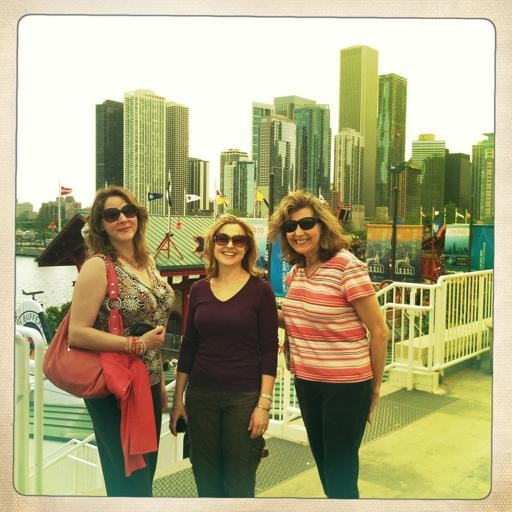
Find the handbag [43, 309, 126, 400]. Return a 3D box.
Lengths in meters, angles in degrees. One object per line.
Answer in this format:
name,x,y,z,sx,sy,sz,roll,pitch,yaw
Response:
handbag,-0.954,0.485,3.175,0.411,0.487,0.229,7,20,-8

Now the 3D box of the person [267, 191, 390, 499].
person,0.402,0.501,3.276,0.647,1.714,0.268,2,5,35

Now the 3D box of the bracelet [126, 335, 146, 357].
bracelet,-0.652,0.482,3.194,0.084,0.101,0.038,2,25,43

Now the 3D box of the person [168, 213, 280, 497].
person,-0.180,0.558,3.250,0.617,1.553,0.320,-2,4,-9

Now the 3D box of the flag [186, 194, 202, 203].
flag,-0.528,-0.476,4.871,0.124,0.070,0.339,-2,6,-7

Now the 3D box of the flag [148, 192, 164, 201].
flag,-0.829,-0.488,4.861,0.118,0.073,0.034,-1,42,3
